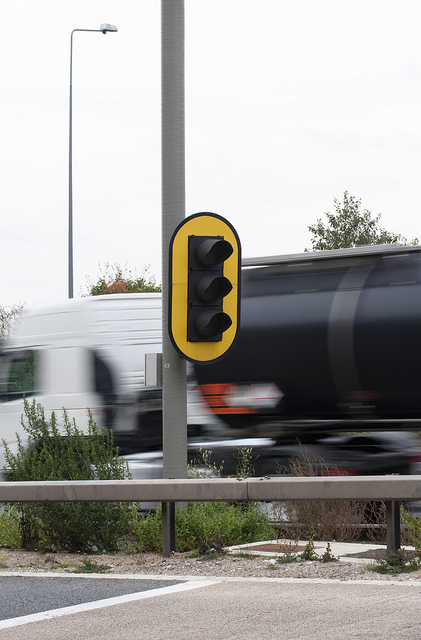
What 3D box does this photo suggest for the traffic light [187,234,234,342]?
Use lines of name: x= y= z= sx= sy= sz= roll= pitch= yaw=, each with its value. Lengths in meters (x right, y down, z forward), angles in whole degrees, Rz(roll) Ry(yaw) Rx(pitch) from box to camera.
traffic light: x=-0.022 y=-0.272 z=8.619 sx=0.383 sy=0.951 sz=0.350 roll=0 pitch=-1 yaw=-5

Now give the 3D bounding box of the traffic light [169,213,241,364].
traffic light: x=-0.044 y=-0.271 z=8.646 sx=0.641 sy=1.315 sz=0.416 roll=0 pitch=-1 yaw=-9
